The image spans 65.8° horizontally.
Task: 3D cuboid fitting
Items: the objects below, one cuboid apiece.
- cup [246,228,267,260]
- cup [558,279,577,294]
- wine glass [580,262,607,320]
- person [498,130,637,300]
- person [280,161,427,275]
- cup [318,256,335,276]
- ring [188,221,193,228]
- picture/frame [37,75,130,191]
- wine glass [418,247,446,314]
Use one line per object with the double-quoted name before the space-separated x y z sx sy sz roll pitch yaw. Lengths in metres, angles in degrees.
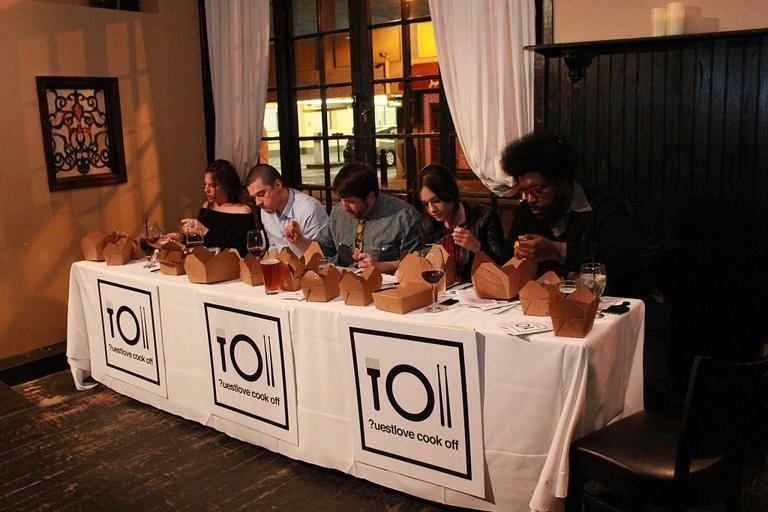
"cup" -0.786 -0.072 3.609 0.103 0.180 0.162 -7 15 -15
"cup" 0.898 0.151 2.903 0.070 0.056 0.071 0 0 0
"wine glass" 0.999 0.125 2.847 0.112 0.173 0.111 2 15 18
"person" 1.084 -0.191 3.620 0.736 1.079 0.687 -8 -2 44
"person" -0.188 -0.259 4.162 0.685 1.214 0.628 9 25 40
"cup" -0.332 0.056 3.330 0.088 0.099 0.097 -2 10 0
"ring" -1.464 -0.241 4.461 0.018 0.025 0.024 -2 -4 41
"picture/frame" -2.721 -1.104 5.265 0.086 1.288 0.890 8 13 39
"wine glass" 0.255 0.111 3.075 0.116 0.292 0.222 -1 14 6
